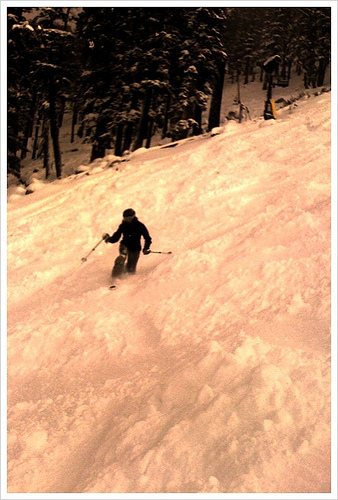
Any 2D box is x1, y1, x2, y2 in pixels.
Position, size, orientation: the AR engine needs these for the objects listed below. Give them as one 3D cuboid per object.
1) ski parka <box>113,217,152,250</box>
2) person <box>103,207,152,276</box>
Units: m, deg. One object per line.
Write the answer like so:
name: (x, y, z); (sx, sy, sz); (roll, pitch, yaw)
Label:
ski parka: (-0.785, -0.356, 8.187); (0.780, 0.651, 0.503); (3, 11, -6)
person: (-0.945, -0.153, 8.911); (1.197, 0.781, 1.865); (-13, 48, 16)
